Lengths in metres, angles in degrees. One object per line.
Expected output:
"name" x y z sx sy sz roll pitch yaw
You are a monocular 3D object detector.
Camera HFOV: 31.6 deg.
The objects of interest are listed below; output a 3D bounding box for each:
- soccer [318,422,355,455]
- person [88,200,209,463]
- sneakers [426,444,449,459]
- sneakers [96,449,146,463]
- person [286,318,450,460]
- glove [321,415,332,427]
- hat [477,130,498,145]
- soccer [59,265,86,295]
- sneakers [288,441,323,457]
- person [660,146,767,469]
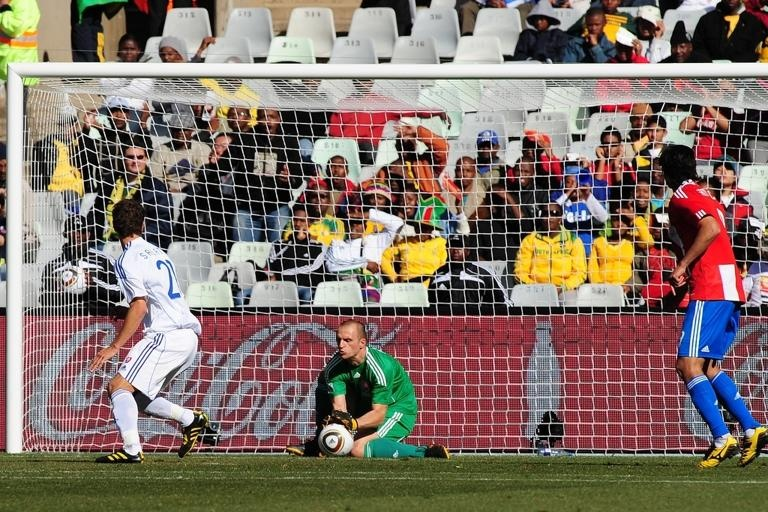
"soccer" -0.452 1.654 12.368 0.252 0.226 0.308 10 4 -2
"person" -2.105 0.674 11.984 0.983 2.335 0.502 -8 12 -26
"sneakers" 0.478 1.796 12.453 0.146 0.056 0.143 14 -19 -33
"sneakers" -2.322 1.773 11.913 0.409 0.137 0.139 4 -14 -1
"person" -0.106 1.201 12.562 1.226 1.253 0.701 -2 11 6
"glove" -0.516 1.505 12.386 0.043 0.109 0.082 38 6 -44
"hat" 1.120 -1.293 14.721 0.236 0.169 0.370 2 8 16
"soccer" -3.058 0.235 13.360 0.218 0.264 0.272 -6 -8 -11
"sneakers" -0.739 1.799 12.672 0.401 0.171 0.136 4 -16 7
"person" 2.805 0.424 11.586 0.766 2.719 0.845 -3 11 1
